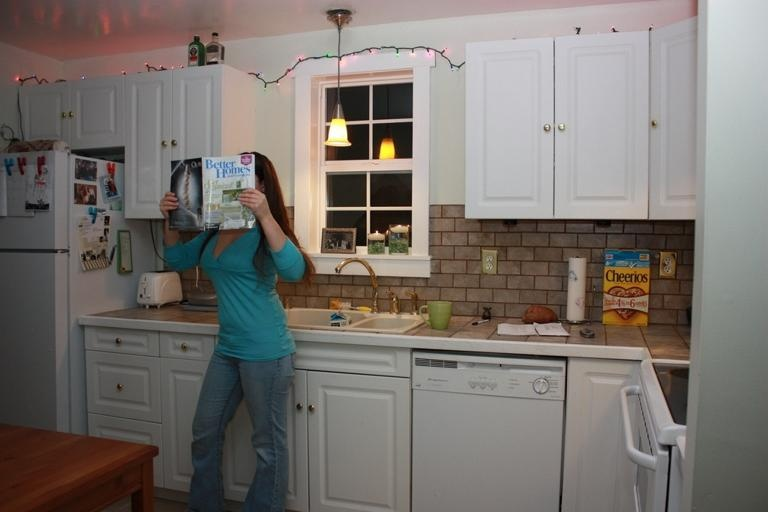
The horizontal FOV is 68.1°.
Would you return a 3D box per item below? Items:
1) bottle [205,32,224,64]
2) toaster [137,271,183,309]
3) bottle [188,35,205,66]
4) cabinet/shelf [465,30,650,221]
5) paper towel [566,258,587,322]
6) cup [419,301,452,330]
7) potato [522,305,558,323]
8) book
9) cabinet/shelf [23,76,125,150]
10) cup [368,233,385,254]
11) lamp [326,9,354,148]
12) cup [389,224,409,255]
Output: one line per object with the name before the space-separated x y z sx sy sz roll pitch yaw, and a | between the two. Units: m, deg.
bottle | -1.068 -1.310 3.581 0.108 0.232 0.163 -1 4 -17
toaster | -1.524 0.228 3.865 0.194 0.225 0.313 0 -1 19
bottle | -1.180 -1.307 3.618 0.110 0.209 0.084 2 4 31
cabinet/shelf | 0.946 -0.703 3.394 1.021 0.971 0.728 0 3 7
paper towel | 1.099 0.195 3.251 0.100 0.367 0.100 1 4 21
cup | 0.302 0.321 3.150 0.123 0.150 0.212 0 3 -2
potato | 0.893 0.333 3.242 0.194 0.090 0.199 0 3 -2
book | -0.800 -0.296 2.706 0.373 0.260 0.027 3 8 23
cabinet/shelf | -2.069 -0.923 3.973 0.764 0.458 0.395 -3 -4 8
cup | -0.046 -0.076 3.592 0.109 0.131 0.082 -1 3 -3
lamp | -0.274 -1.071 3.524 0.162 0.804 0.507 -1 3 -6
cup | 0.098 -0.103 3.590 0.134 0.182 0.136 0 3 0
